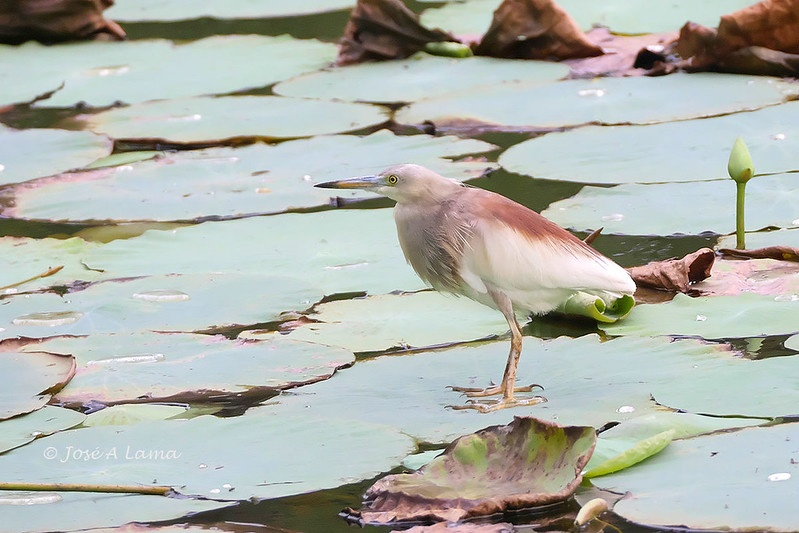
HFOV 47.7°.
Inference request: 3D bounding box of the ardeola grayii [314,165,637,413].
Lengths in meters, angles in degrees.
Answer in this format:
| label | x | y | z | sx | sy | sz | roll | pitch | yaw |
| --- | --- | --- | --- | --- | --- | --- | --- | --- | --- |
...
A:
| label | x | y | z | sx | sy | sz | roll | pitch | yaw |
| --- | --- | --- | --- | --- | --- | --- | --- | --- | --- |
| ardeola grayii | 0.411 | 0.011 | 3.462 | 0.787 | 0.871 | 0.928 | -23 | 33 | 1 |
